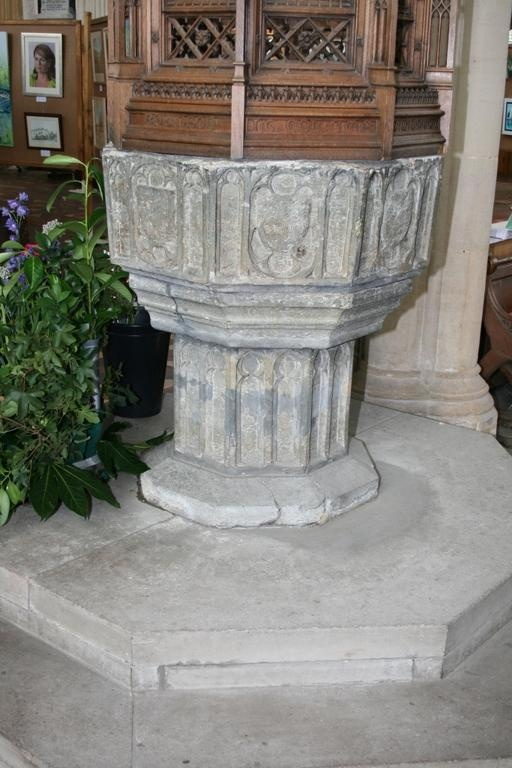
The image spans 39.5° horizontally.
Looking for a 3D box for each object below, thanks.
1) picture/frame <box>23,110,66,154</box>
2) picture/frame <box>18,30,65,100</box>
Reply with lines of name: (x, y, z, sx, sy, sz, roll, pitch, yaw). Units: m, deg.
picture/frame: (-1.579, -1.907, 5.370, 0.329, 0.257, 0.015, 17, 25, 24)
picture/frame: (-1.569, -2.377, 5.273, 0.435, 0.479, 0.033, 17, 28, 22)
